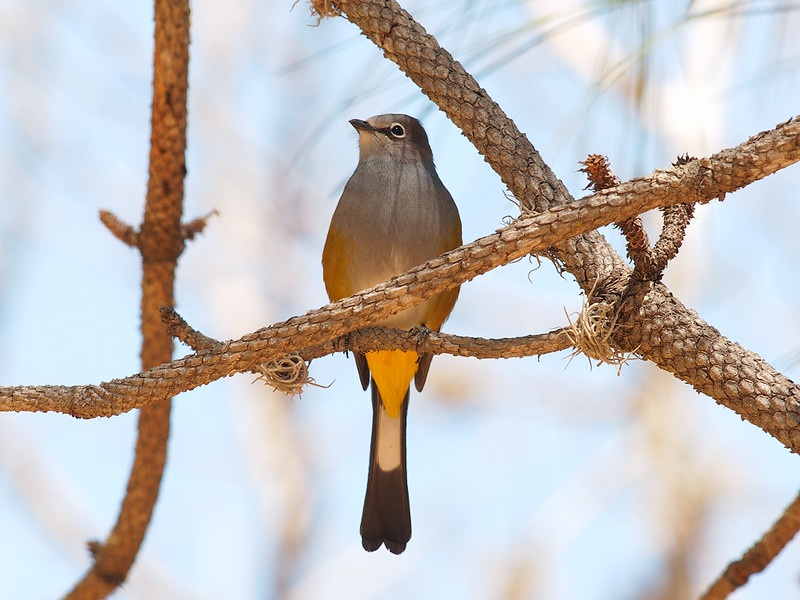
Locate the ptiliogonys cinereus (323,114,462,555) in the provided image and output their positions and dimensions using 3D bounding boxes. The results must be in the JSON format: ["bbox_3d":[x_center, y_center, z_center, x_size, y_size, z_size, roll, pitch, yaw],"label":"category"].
[{"bbox_3d":[-0.009,0.064,4.269,0.430,0.618,1.618,0,-83,5],"label":"ptiliogonys cinereus"}]
